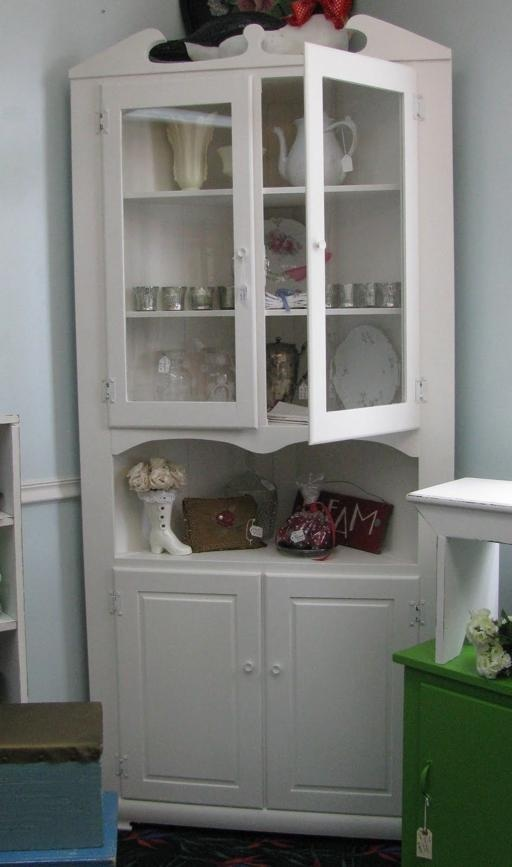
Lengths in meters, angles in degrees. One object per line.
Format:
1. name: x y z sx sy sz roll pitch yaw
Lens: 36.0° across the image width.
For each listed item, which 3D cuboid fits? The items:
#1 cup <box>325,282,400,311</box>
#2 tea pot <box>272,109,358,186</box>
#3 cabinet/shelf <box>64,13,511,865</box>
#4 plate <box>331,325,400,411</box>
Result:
1. cup: 0.245 -0.319 1.819 0.217 0.059 0.035 -6 7 -38
2. tea pot: 0.107 -0.661 1.842 0.201 0.159 0.154 11 19 33
3. cabinet/shelf: 0.082 -0.016 2.019 0.966 2.040 0.550 2 6 28
4. plate: 0.250 -0.156 1.830 0.046 0.190 0.216 4 8 45
